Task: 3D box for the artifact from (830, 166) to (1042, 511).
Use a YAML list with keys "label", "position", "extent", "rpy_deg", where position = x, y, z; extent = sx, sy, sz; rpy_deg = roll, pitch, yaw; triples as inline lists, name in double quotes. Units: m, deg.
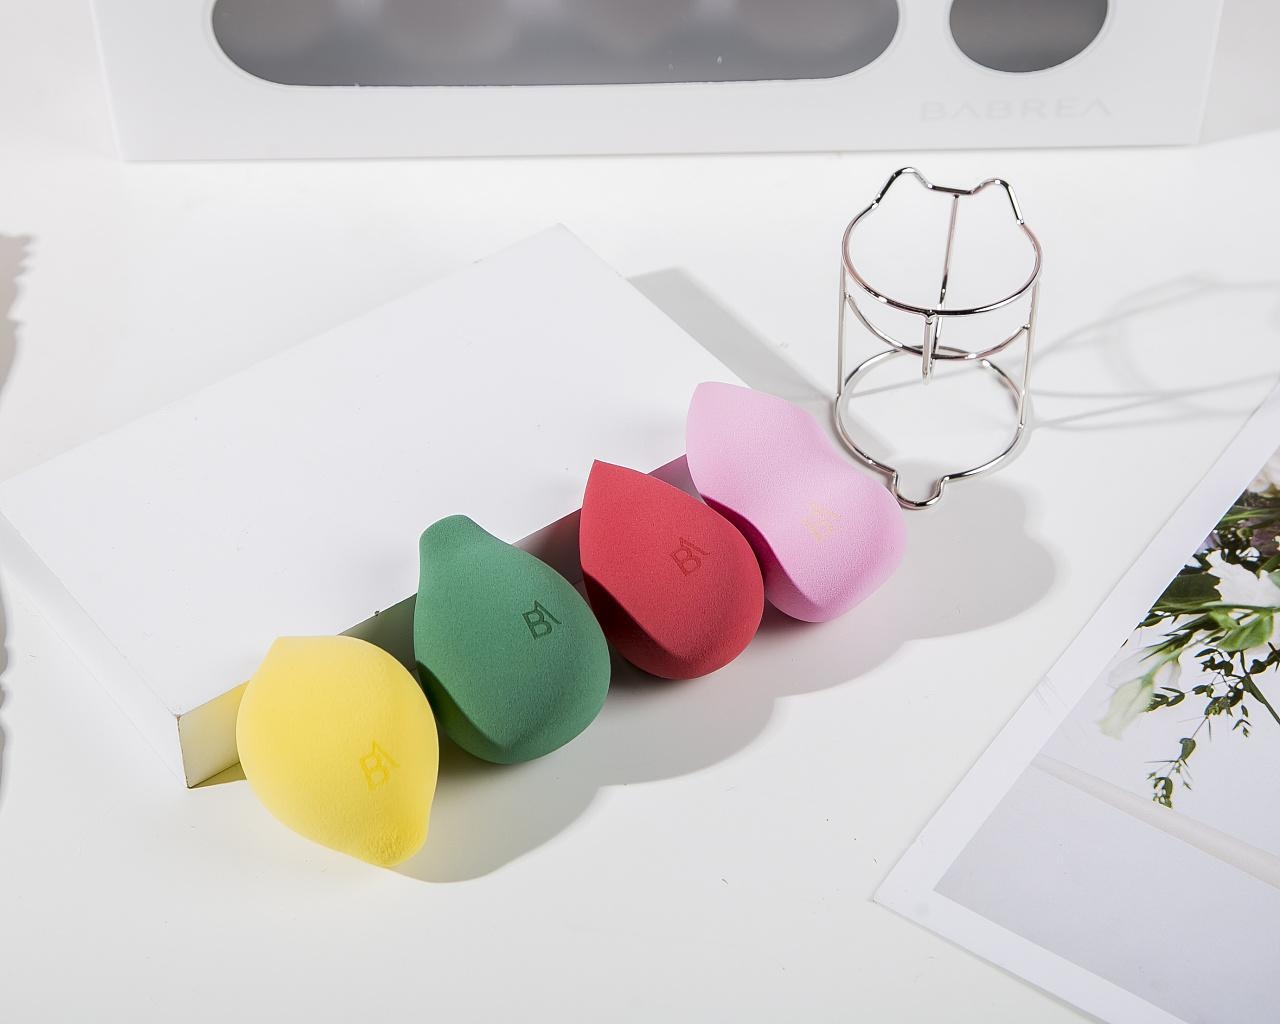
- label: "artifact"
  position: [0.211, -0.130, 0.847]
  extent: [0.119, 0.176, 0.160]
  rpy_deg: [7, 87, 8]
